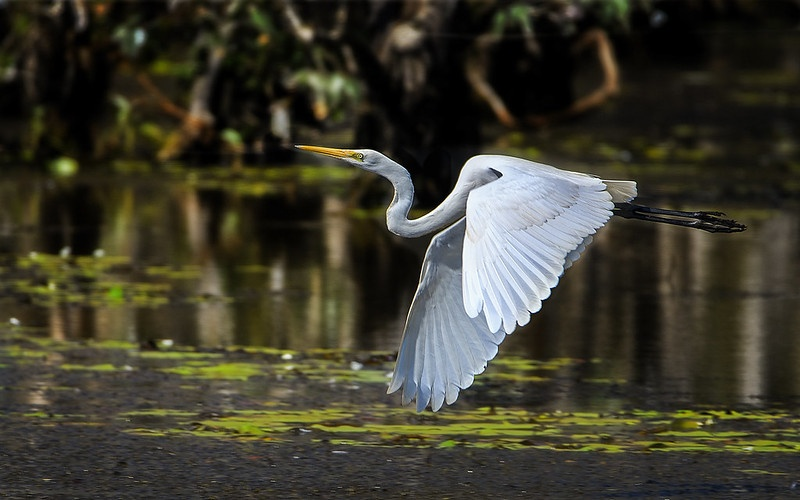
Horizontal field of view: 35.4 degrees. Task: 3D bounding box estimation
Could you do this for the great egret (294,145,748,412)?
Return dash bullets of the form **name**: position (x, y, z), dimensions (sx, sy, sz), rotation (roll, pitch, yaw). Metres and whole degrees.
- **great egret**: position (0.762, -0.016, 8.608), dimensions (2.273, 1.424, 2.590), rotation (-23, 2, 21)
